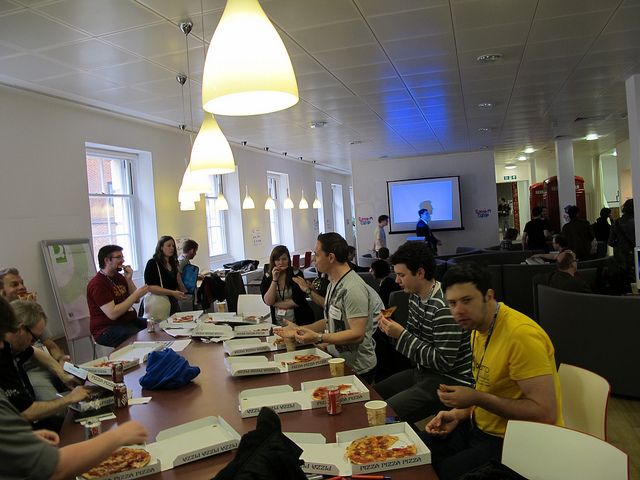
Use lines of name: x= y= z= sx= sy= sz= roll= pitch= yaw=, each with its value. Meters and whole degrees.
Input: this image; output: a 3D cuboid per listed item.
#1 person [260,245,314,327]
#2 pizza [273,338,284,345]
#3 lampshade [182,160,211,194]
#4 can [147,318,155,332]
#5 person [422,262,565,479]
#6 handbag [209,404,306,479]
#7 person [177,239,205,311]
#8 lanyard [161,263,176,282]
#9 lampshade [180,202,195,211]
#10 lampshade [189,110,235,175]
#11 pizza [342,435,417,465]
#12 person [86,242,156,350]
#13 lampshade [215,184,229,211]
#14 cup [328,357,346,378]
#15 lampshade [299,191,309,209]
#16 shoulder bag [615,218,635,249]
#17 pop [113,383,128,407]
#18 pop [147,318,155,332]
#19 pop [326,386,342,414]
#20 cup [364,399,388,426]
person: x=-0.347 y=0.665 z=4.549 sx=0.477 sy=1.265 sz=0.417 roll=-9 pitch=24 yaw=-8
pizza: x=-0.326 y=0.789 z=3.395 sx=0.077 sy=0.035 sz=0.101 roll=-3 pitch=3 yaw=12
lampshade: x=-1.180 y=-0.604 z=4.107 sx=0.255 sy=0.301 sz=0.271 roll=-3 pitch=13 yaw=-8
can: x=-1.618 y=0.809 z=4.157 sx=0.067 sy=0.125 sz=0.119 roll=0 pitch=-4 yaw=10
person: x=0.883 y=0.681 z=2.220 sx=0.759 sy=1.132 sz=0.818 roll=-5 pitch=2 yaw=12
handbag: x=-0.209 y=0.844 z=1.825 sx=0.174 sy=0.260 sz=0.560 roll=-8 pitch=-20 yaw=17
person: x=-1.909 y=0.641 z=6.345 sx=0.372 sy=1.246 sz=0.379 roll=0 pitch=3 yaw=-2
lanyard: x=-1.915 y=0.407 z=5.418 sx=0.020 sy=0.306 sz=0.020 roll=-20 pitch=26 yaw=52
lampshade: x=-2.105 y=-0.547 z=6.799 sx=0.148 sy=0.117 sz=0.307 roll=-5 pitch=3 yaw=19
lampshade: x=-0.794 y=-0.724 z=3.172 sx=0.431 sy=0.432 sz=0.283 roll=-3 pitch=3 yaw=45
pizza: x=0.277 y=0.958 z=2.003 sx=0.340 sy=0.035 sz=0.213 roll=-7 pitch=2 yaw=-8
person: x=-2.171 y=0.735 z=4.793 sx=0.723 sy=1.385 sz=0.664 roll=2 pitch=4 yaw=-3
lampshade: x=-1.876 y=-0.753 z=8.171 sx=0.200 sy=0.399 sz=0.580 roll=-6 pitch=2 yaw=-13
cup: x=0.098 y=0.788 z=2.695 sx=0.099 sy=0.083 sz=0.103 roll=-1 pitch=-5 yaw=0
lampshade: x=-0.466 y=-1.028 z=11.879 sx=0.235 sy=0.510 sz=0.291 roll=-2 pitch=-7 yaw=0
shoulder bag: x=4.601 y=-0.097 z=6.517 sx=0.079 sy=0.368 sz=0.277 roll=-21 pitch=3 yaw=-3
pop: x=-1.207 y=0.927 z=2.620 sx=0.102 sy=0.148 sz=0.075 roll=-4 pitch=3 yaw=39
pop: x=-1.617 y=0.809 z=4.125 sx=0.060 sy=0.129 sz=0.070 roll=-6 pitch=2 yaw=-22
pop: x=0.075 y=0.866 z=2.368 sx=0.089 sy=0.117 sz=0.086 roll=-6 pitch=2 yaw=-10
cup: x=0.283 y=0.863 z=2.177 sx=0.096 sy=0.084 sz=0.104 roll=0 pitch=-5 yaw=0
